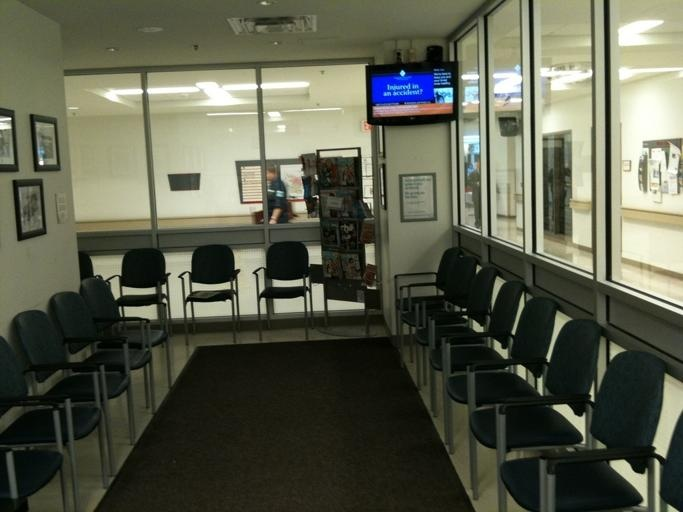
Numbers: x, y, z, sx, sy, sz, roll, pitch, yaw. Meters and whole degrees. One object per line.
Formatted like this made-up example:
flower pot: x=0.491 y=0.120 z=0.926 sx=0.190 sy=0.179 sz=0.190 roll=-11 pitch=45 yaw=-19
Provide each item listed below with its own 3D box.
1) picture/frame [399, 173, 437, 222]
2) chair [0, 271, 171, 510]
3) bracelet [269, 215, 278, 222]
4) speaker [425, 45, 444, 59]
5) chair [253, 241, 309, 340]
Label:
picture/frame: x=0.836 y=-0.671 z=6.869 sx=0.467 sy=0.609 sz=0.039 roll=-1 pitch=2 yaw=1
chair: x=-1.986 y=1.066 z=4.771 sx=0.470 sy=0.764 sz=1.466 roll=0 pitch=7 yaw=-1
bracelet: x=-0.838 y=-0.466 z=7.712 sx=0.066 sy=0.100 sz=0.094 roll=1 pitch=-4 yaw=8
speaker: x=0.996 y=-2.164 z=6.642 sx=0.143 sy=0.157 sz=0.157 roll=0 pitch=15 yaw=-1
chair: x=-0.689 y=0.411 z=7.503 sx=0.696 sy=1.111 sz=0.857 roll=-4 pitch=12 yaw=-7
